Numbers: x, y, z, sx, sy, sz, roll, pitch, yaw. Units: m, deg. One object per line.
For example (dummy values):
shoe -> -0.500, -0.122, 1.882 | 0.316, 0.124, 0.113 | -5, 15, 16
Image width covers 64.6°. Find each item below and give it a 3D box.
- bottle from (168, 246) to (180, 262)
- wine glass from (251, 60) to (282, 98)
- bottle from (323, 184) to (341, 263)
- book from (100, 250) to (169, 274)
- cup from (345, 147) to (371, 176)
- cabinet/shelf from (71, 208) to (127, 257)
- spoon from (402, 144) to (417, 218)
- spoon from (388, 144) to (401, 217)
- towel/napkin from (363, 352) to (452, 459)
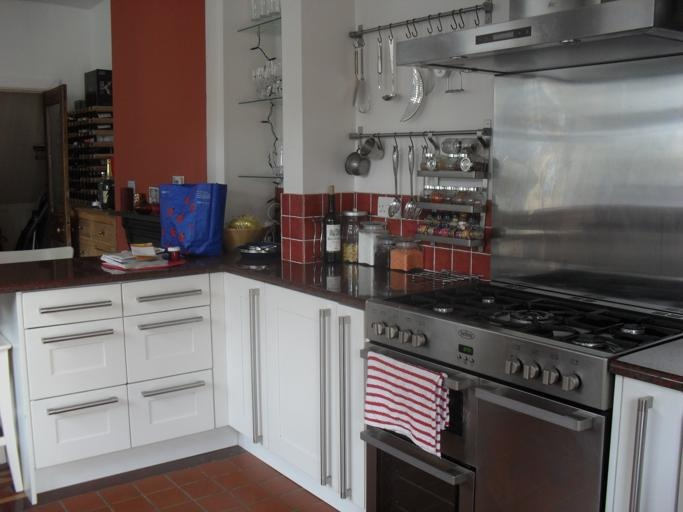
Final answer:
bottle -> -0.963, -0.006, 3.158 | 0.082, 0.080, 0.052 | -10, -14, 41
wine glass -> -0.507, -1.177, 3.640 | 0.145, 0.231, 0.368 | -7, 14, -28
bottle -> -0.056, -0.188, 3.149 | 0.111, 0.432, 0.223 | 0, 12, -1
book -> -1.141, 0.033, 3.007 | 0.356, 0.062, 0.372 | -7, 15, -26
cup -> 0.098, -0.542, 3.188 | 0.128, 0.154, 0.068 | -27, 16, -19
cabinet/shelf -> -2.454, -0.241, 5.510 | 0.455, 0.443, 0.196 | 13, 14, 43
spoon -> 0.376, -0.416, 2.923 | 0.061, 0.417, 0.155 | 1, 12, 7
spoon -> 0.302, -0.428, 3.033 | 0.071, 0.427, 0.131 | 0, 12, 1
towel/napkin -> 0.265, 0.561, 2.066 | 0.069, 0.303, 0.412 | -8, 14, -34
